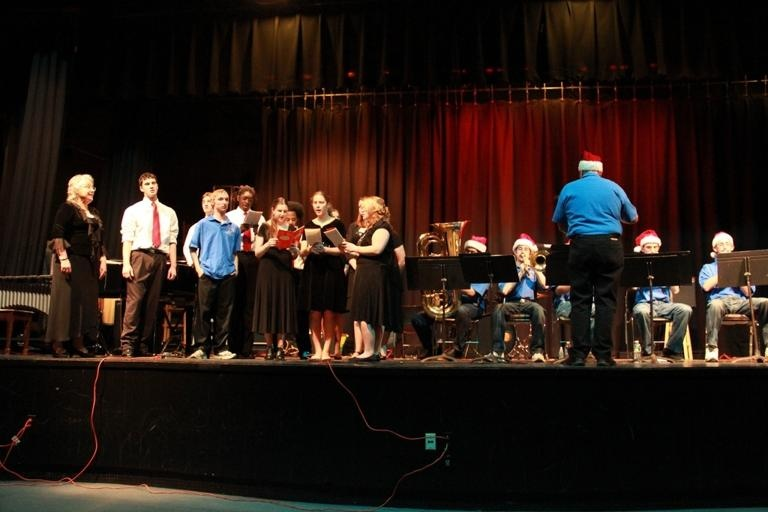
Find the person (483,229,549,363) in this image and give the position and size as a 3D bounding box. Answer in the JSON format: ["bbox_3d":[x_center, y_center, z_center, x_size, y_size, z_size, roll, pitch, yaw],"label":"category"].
[{"bbox_3d":[1.730,0.466,9.387,0.736,1.744,1.012,0,-10,10],"label":"person"}]

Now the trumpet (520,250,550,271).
[{"bbox_3d":[1.958,0.050,9.352,0.199,0.223,0.214,0,-10,10],"label":"trumpet"}]

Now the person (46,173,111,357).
[{"bbox_3d":[-3.682,0.093,8.940,0.601,2.169,0.696,1,-5,-10],"label":"person"}]

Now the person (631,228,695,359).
[{"bbox_3d":[3.541,0.462,9.456,0.629,1.707,0.957,-1,-6,12],"label":"person"}]

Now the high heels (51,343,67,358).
[{"bbox_3d":[-3.787,1.103,8.666,0.138,0.153,0.378,5,-8,-41],"label":"high heels"}]

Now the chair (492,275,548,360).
[{"bbox_3d":[1.688,0.712,9.279,0.639,1.126,1.048,-1,-5,9],"label":"chair"}]

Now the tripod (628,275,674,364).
[{"bbox_3d":[3.434,0.755,9.278,0.461,1.097,0.506,0,5,27],"label":"tripod"}]

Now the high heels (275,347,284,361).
[{"bbox_3d":[-1.221,1.137,8.701,0.105,0.121,0.268,1,-5,-8],"label":"high heels"}]

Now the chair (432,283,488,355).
[{"bbox_3d":[1.029,0.808,9.794,0.707,1.099,0.582,1,4,15],"label":"chair"}]

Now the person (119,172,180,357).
[{"bbox_3d":[-2.898,0.087,9.127,0.686,2.234,0.425,4,-6,-38],"label":"person"}]

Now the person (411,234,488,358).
[{"bbox_3d":[0.934,0.531,9.836,0.902,1.664,0.780,1,1,8],"label":"person"}]

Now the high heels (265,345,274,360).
[{"bbox_3d":[-1.329,1.111,8.660,0.104,0.147,0.156,1,-5,-9],"label":"high heels"}]
